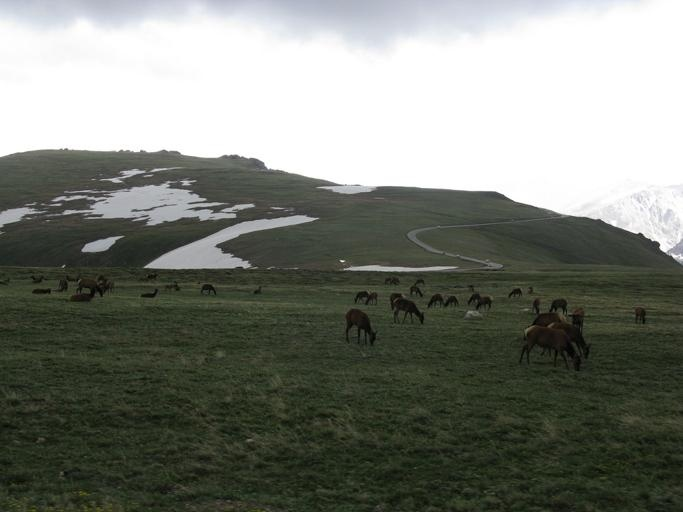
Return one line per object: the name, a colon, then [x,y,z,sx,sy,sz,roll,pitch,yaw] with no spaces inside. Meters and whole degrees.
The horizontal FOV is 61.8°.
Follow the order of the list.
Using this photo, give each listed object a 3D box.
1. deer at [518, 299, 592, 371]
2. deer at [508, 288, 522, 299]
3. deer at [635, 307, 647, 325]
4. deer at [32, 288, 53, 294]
deer: [12.283,4.781,32.578,3.264,2.948,3.510,-1,-4,20]
deer: [17.896,3.762,58.763,1.340,0.932,2.666,-1,-3,15]
deer: [22.124,4.330,42.078,0.676,1.172,2.201,-2,-3,26]
deer: [-25.813,2.971,48.830,1.356,0.450,2.732,1,-3,-27]
